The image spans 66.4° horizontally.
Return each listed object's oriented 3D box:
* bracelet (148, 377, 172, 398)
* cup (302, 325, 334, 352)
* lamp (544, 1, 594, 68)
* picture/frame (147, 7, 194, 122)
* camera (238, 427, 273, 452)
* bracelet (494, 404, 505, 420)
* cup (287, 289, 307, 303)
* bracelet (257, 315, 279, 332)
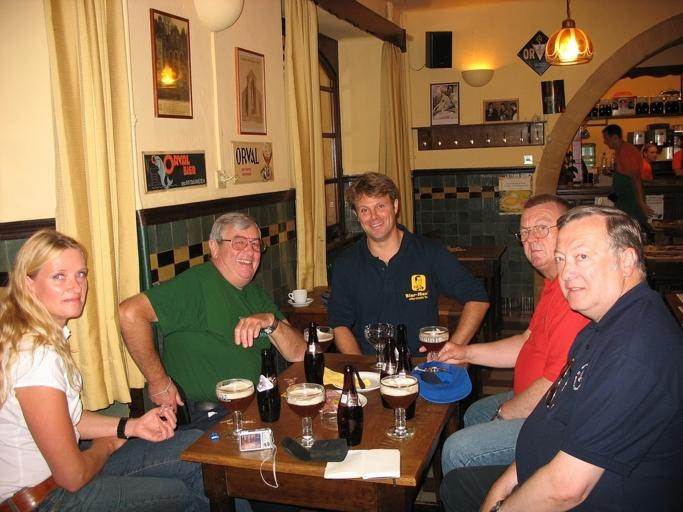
[{"bbox_3d":[-0.907,0.655,2.640,0.087,0.064,0.110,-5,0,-32],"label":"bracelet"},{"bbox_3d":[-0.107,0.401,2.602,0.142,0.157,0.159,0,-7,4],"label":"cup"},{"bbox_3d":[2.197,-2.060,5.038,0.399,0.376,0.272,2,12,22],"label":"lamp"},{"bbox_3d":[-1.029,-1.147,3.184,0.028,0.604,0.368,1,12,21],"label":"picture/frame"},{"bbox_3d":[-0.317,0.673,1.896,0.108,0.070,0.026,0,-2,-12],"label":"camera"},{"bbox_3d":[0.757,0.759,2.544,0.051,0.068,0.069,-1,12,9],"label":"bracelet"},{"bbox_3d":[-0.329,0.315,4.060,0.096,0.086,0.124,-5,8,-38],"label":"cup"},{"bbox_3d":[-0.368,0.337,2.633,0.089,0.090,0.085,5,9,1],"label":"bracelet"}]
